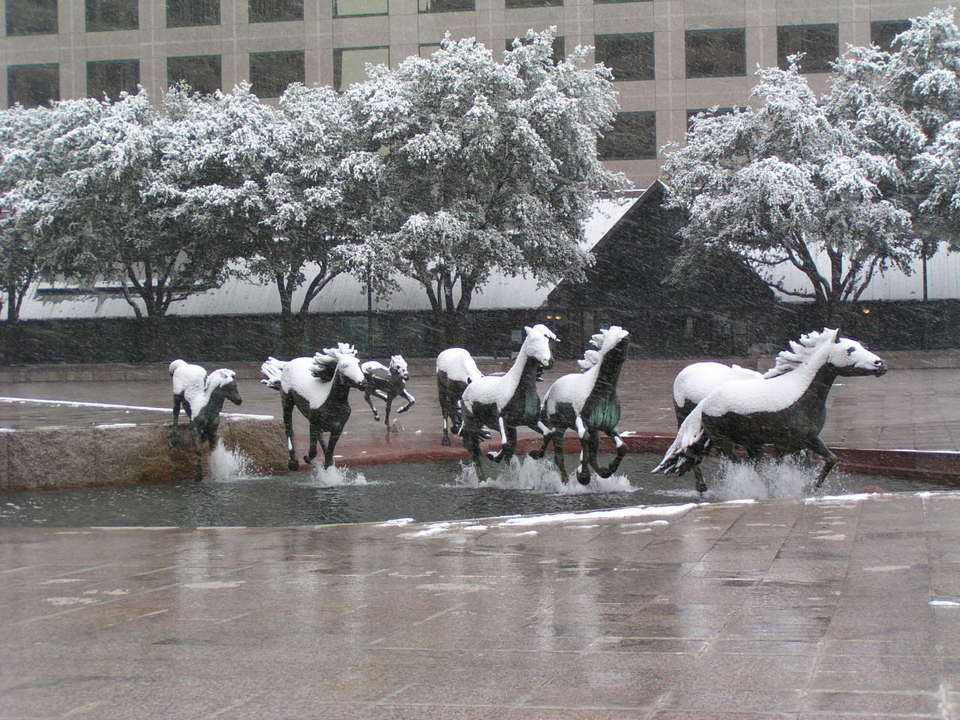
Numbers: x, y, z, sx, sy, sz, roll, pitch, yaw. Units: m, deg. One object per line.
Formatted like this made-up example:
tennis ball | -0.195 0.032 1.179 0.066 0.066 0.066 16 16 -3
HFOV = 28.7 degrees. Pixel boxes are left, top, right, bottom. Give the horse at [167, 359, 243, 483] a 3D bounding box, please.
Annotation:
horse | -6.181 1.105 41.759 0.836 2.401 3.848 4 12 -27

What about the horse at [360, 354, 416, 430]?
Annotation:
horse | -2.102 0.612 42.288 0.688 1.708 2.518 -9 8 -22

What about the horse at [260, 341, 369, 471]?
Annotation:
horse | -3.568 1.106 41.343 0.935 3.035 2.926 -8 12 -30

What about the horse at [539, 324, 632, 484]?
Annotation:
horse | 2.370 0.948 39.616 1.743 3.324 1.562 -4 7 -33
